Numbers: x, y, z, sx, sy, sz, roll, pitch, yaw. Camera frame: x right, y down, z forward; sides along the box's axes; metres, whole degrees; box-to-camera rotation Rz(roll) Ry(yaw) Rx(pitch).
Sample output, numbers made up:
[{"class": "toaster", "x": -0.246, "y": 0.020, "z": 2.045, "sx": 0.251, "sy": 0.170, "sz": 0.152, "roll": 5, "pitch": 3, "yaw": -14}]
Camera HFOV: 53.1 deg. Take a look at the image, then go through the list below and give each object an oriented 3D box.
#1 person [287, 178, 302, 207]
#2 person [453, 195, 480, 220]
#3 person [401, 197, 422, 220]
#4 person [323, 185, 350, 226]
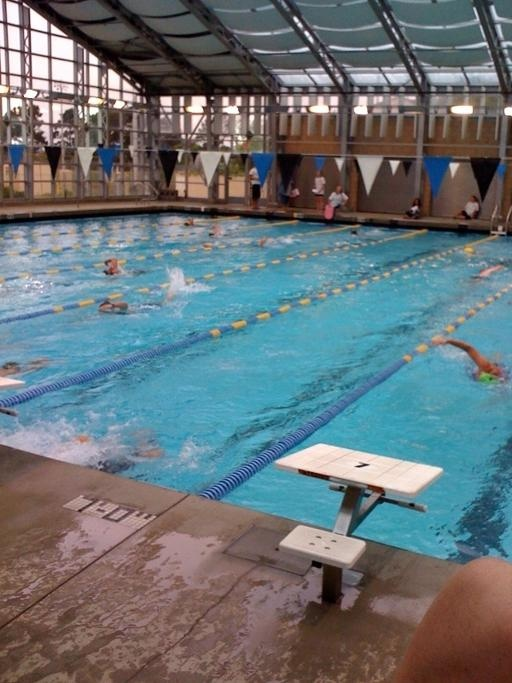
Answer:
[{"class": "person", "x": 1.326, "y": -5.364, "z": 18.510, "sx": 0.450, "sy": 0.960, "sz": 0.705, "roll": 3, "pitch": 10, "yaw": 7}, {"class": "person", "x": 6.646, "y": -4.121, "z": 15.927, "sx": 0.583, "sy": 0.702, "sz": 0.716, "roll": 5, "pitch": 11, "yaw": 20}, {"class": "person", "x": 4.999, "y": -4.228, "z": 16.314, "sx": 0.450, "sy": 0.728, "sz": 1.135, "roll": 5, "pitch": 10, "yaw": 19}, {"class": "person", "x": 2.476, "y": -4.478, "z": 16.739, "sx": 0.762, "sy": 0.691, "sz": 1.514, "roll": 17, "pitch": 57, "yaw": 20}]
